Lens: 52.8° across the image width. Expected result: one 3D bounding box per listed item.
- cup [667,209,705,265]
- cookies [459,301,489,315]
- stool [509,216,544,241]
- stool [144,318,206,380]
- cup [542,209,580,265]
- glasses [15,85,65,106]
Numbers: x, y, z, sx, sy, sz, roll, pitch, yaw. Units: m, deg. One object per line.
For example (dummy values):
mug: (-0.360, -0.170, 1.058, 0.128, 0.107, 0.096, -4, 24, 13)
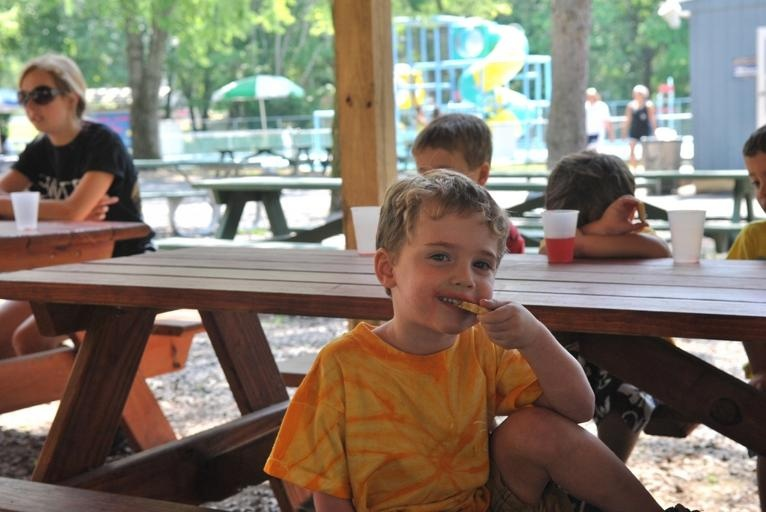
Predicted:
cup: (1.177, -0.064, 2.986, 0.194, 0.241, 0.187, 2, -3, 0)
cookies: (0.269, 0.162, 2.305, 0.091, 0.041, 0.029, -1, 10, 6)
stool: (1.151, -0.206, 6.148, 0.398, 0.090, 0.252, -8, 15, -41)
stool: (-1.157, 0.512, 4.282, 0.284, 0.272, 0.339, 1, -5, -13)
cup: (0.698, -0.076, 3.135, 0.183, 0.220, 0.194, -4, 3, 0)
glasses: (-1.949, -0.906, 4.398, 0.158, 0.059, 0.159, -2, 3, 11)
